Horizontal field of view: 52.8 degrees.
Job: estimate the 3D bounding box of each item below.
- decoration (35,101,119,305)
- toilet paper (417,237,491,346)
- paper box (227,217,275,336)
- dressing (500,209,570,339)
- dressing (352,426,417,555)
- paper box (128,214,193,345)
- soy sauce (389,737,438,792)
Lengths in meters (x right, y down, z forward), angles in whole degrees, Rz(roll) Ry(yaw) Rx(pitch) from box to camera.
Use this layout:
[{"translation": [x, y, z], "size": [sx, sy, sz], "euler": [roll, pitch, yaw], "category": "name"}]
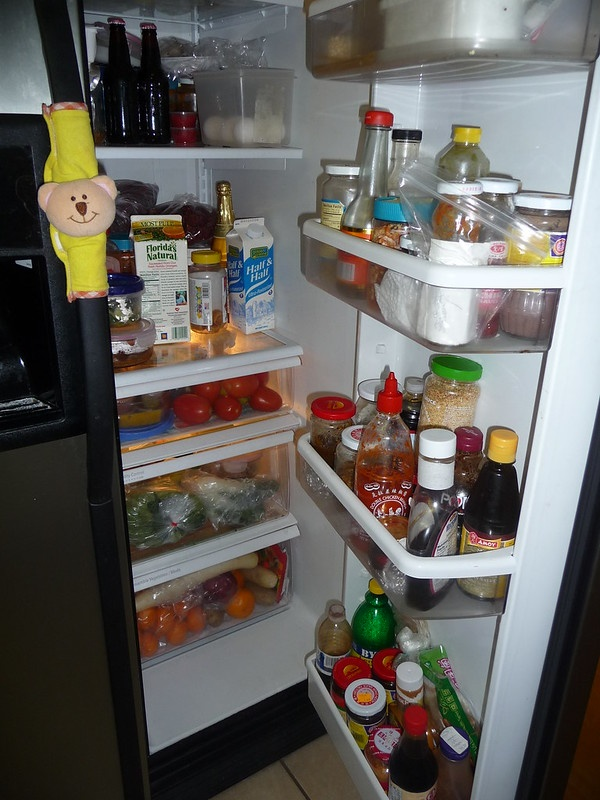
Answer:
[{"translation": [-0.190, -0.162, 0.518], "size": [0.063, 0.164, 0.055], "euler": [-9, 24, -21], "category": "decoration"}, {"translation": [0.170, -0.116, 0.654], "size": [0.079, 0.123, 0.078], "euler": [-6, 21, 1], "category": "toilet paper"}, {"translation": [-0.115, -0.284, 1.406], "size": [0.114, 0.250, 0.116], "euler": [4, 25, 6], "category": "paper box"}, {"translation": [0.243, -0.133, 0.634], "size": [0.055, 0.149, 0.059], "euler": [7, 23, 17], "category": "dressing"}, {"translation": [0.120, 0.102, 0.869], "size": [0.084, 0.227, 0.084], "euler": [11, 21, 26], "category": "dressing"}, {"translation": [-0.295, -0.246, 1.255], "size": [0.105, 0.313, 0.114], "euler": [-8, 43, -12], "category": "paper box"}, {"translation": [0.172, 0.556, 0.918], "size": [0.050, 0.152, 0.051], "euler": [31, 53, 29], "category": "soy sauce"}]
